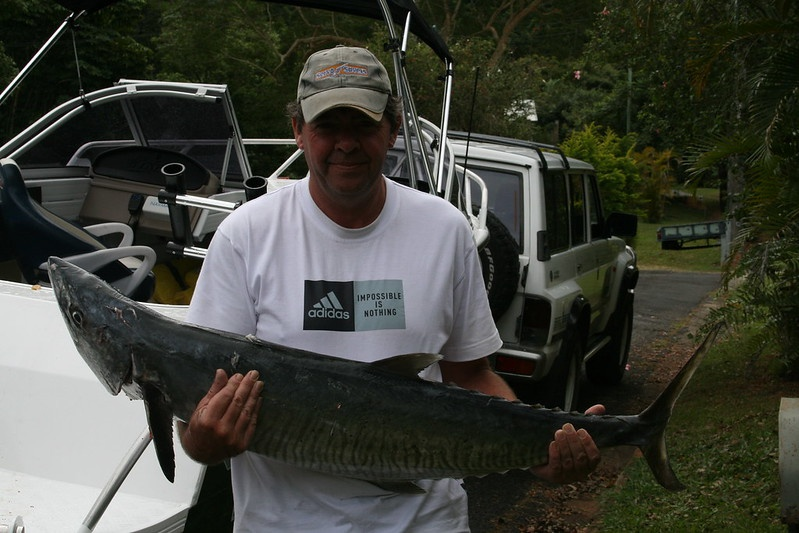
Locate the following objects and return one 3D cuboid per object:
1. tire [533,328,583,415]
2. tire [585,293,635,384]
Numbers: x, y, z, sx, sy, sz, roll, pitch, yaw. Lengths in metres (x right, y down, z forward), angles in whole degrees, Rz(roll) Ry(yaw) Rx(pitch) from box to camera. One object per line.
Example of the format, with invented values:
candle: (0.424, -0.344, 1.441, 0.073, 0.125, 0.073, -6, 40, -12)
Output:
tire: (1.438, 0.925, 5.826, 0.320, 0.868, 0.859, 10, 5, 23)
tire: (2.651, 0.897, 8.057, 0.361, 1.073, 1.058, 8, 13, 31)
